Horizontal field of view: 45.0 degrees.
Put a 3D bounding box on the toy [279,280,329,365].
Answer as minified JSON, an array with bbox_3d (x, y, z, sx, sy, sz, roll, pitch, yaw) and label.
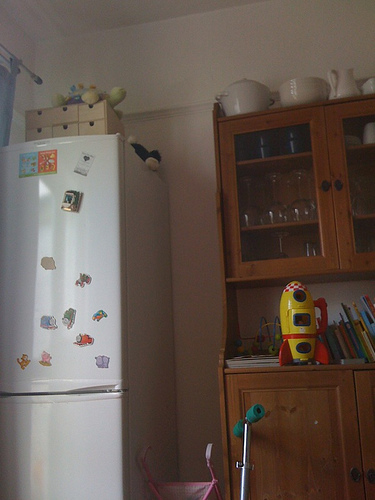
[{"bbox_3d":[0.389,0.254,1.559,0.187,0.282,0.133,-2,-13,12],"label":"toy"}]

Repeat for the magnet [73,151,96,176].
[{"bbox_3d":[-0.355,-0.297,1.561,0.059,0.077,0.021,18,-5,7],"label":"magnet"}]

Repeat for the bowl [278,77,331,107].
[{"bbox_3d":[0.459,-0.608,1.757,0.218,0.100,0.234,-2,-3,0],"label":"bowl"}]

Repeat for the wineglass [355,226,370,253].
[{"bbox_3d":[0.614,-0.035,1.584,0.045,0.097,0.020,-4,-7,12],"label":"wineglass"}]

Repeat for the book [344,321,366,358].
[{"bbox_3d":[0.582,0.314,1.577,0.036,0.130,0.023,-26,-11,0],"label":"book"}]

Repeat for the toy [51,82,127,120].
[{"bbox_3d":[-0.394,-0.638,1.882,0.294,0.121,0.233,11,15,33],"label":"toy"}]

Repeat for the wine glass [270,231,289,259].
[{"bbox_3d":[0.339,-0.013,1.667,0.096,0.105,0.087,1,-12,-1],"label":"wine glass"}]

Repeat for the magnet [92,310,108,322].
[{"bbox_3d":[-0.281,0.213,1.460,0.036,0.034,0.014,17,10,8],"label":"magnet"}]

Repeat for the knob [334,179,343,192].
[{"bbox_3d":[0.540,-0.229,1.617,0.030,0.038,0.010,-2,-6,14],"label":"knob"}]

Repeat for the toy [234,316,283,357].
[{"bbox_3d":[0.278,0.346,1.790,0.180,0.144,0.310,-3,-6,10],"label":"toy"}]

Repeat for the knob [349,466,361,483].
[{"bbox_3d":[0.494,0.663,1.333,0.028,0.036,0.009,-3,-11,6],"label":"knob"}]

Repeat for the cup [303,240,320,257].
[{"bbox_3d":[0.441,-0.003,1.622,0.056,0.049,0.054,2,-10,0],"label":"cup"}]

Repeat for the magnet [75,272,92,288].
[{"bbox_3d":[-0.347,0.100,1.475,0.041,0.048,0.016,4,-2,9],"label":"magnet"}]

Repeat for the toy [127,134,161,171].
[{"bbox_3d":[-0.183,-0.422,2.039,0.154,0.165,0.147,2,5,19],"label":"toy"}]

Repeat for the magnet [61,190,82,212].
[{"bbox_3d":[-0.396,-0.164,1.537,0.075,0.066,0.024,4,-7,10],"label":"magnet"}]

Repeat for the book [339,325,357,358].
[{"bbox_3d":[0.561,0.323,1.588,0.027,0.115,0.019,-29,-19,15],"label":"book"}]

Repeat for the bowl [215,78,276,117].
[{"bbox_3d":[0.227,-0.602,1.794,0.198,0.121,0.167,-6,-11,2],"label":"bowl"}]
